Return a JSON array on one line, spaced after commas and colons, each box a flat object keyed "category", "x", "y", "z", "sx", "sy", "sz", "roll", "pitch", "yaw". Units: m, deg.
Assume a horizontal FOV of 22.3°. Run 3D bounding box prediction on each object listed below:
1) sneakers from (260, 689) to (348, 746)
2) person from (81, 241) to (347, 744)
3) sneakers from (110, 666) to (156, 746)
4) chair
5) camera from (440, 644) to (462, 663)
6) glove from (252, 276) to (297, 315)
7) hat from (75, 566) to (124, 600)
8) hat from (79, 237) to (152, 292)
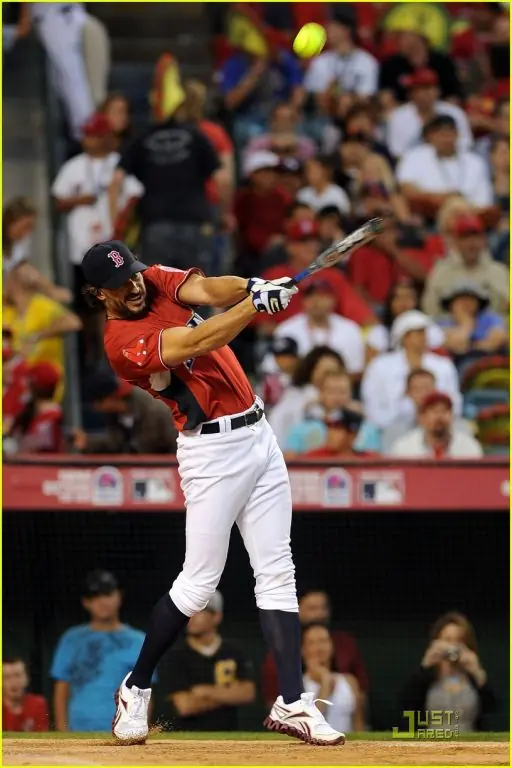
[{"category": "sneakers", "x": 0.272, "y": 1.618, "z": 6.304, "sx": 0.456, "sy": 0.197, "sz": 0.187, "roll": 6, "pitch": 0, "yaw": 40}, {"category": "person", "x": -0.224, "y": 0.533, "z": 6.346, "sx": 1.062, "sy": 2.493, "sz": 0.801, "roll": -3, "pitch": 13, "yaw": 3}, {"category": "sneakers", "x": -0.571, "y": 1.591, "z": 6.441, "sx": 0.164, "sy": 0.372, "sz": 0.204, "roll": 10, "pitch": -22, "yaw": -31}, {"category": "chair", "x": 1.613, "y": 0.152, "z": 9.073, "sx": 0.504, "sy": 0.565, "sz": 0.217, "roll": 0, "pitch": -26, "yaw": 2}, {"category": "camera", "x": 1.219, "y": 1.665, "z": 8.066, "sx": 0.126, "sy": 0.108, "sz": 0.117, "roll": 6, "pitch": 21, "yaw": 7}, {"category": "glove", "x": 0.076, "y": -0.419, "z": 6.087, "sx": 0.211, "sy": 0.140, "sz": 0.120, "roll": 13, "pitch": -14, "yaw": 43}, {"category": "hat", "x": -1.015, "y": 1.315, "z": 8.580, "sx": 0.298, "sy": 0.106, "sz": 0.370, "roll": 0, "pitch": -1, "yaw": -4}, {"category": "hat", "x": -0.663, "y": -0.590, "z": 6.207, "sx": 0.305, "sy": 0.160, "sz": 0.212, "roll": 5, "pitch": 37, "yaw": 44}]
